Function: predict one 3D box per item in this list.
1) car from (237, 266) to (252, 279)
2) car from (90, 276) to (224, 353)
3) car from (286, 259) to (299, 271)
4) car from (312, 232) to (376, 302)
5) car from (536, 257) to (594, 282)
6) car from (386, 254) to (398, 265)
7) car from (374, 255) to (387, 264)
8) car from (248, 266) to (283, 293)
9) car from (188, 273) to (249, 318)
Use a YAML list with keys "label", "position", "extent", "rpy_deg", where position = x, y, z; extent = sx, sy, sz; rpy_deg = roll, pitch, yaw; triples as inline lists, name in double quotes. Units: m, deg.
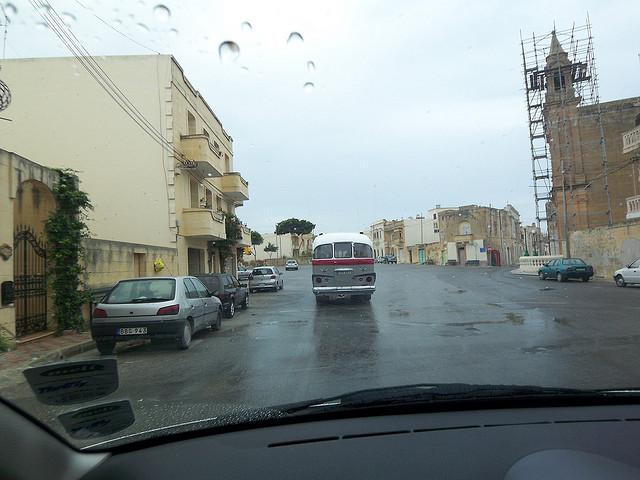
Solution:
- label: "car"
  position: [-5.683, 2.198, 37.318]
  extent: [1.337, 1.216, 2.379]
  rpy_deg: [0, -10, -6]
- label: "car"
  position: [-3.134, 1.453, 10.441]
  extent: [1.445, 1.529, 2.716]
  rpy_deg: [-1, 0, 27]
- label: "car"
  position: [-3.596, 3.155, 63.640]
  extent: [1.088, 0.932, 2.704]
  rpy_deg: [-1, 2, -1]
- label: "car"
  position: [0.914, 0.024, 19.733]
  extent: [2.299, 2.760, 4.947]
  rpy_deg: [-1, 23, 4]
- label: "car"
  position: [13.174, 1.547, 27.266]
  extent: [1.147, 0.928, 2.715]
  rpy_deg: [-1, 1, -1]
- label: "car"
  position: [10.889, 2.943, 76.503]
  extent: [1.248, 1.267, 2.290]
  rpy_deg: [-1, 0, 8]
- label: "car"
  position: [9.263, 2.916, 76.511]
  extent: [2.598, 1.357, 1.637]
  rpy_deg: [-9, -6, 28]
- label: "car"
  position: [-2.841, 2.057, 26.703]
  extent: [0.987, 0.823, 1.816]
  rpy_deg: [-1, 1, 5]
- label: "car"
  position: [-2.950, 1.552, 15.788]
  extent: [0.913, 0.759, 1.974]
  rpy_deg: [-1, 1, 8]
